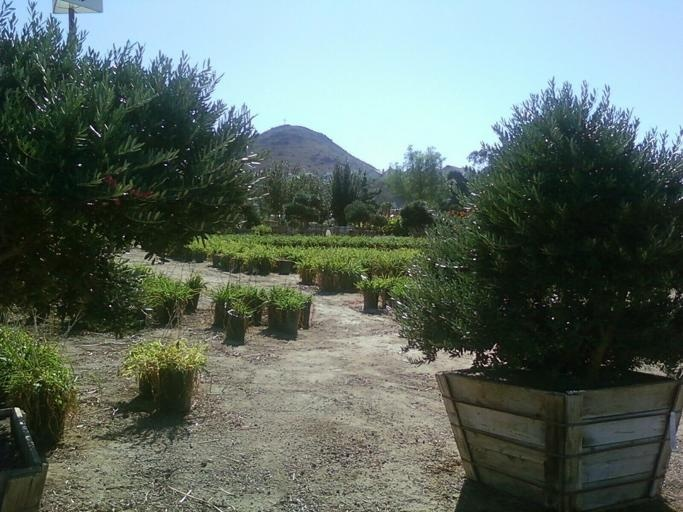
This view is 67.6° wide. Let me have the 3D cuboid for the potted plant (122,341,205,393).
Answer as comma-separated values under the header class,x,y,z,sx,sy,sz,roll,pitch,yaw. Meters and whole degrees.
class,x,y,z,sx,sy,sz,roll,pitch,yaw
potted plant,-2.096,1.197,5.963,0.781,0.454,0.803,4,7,41
